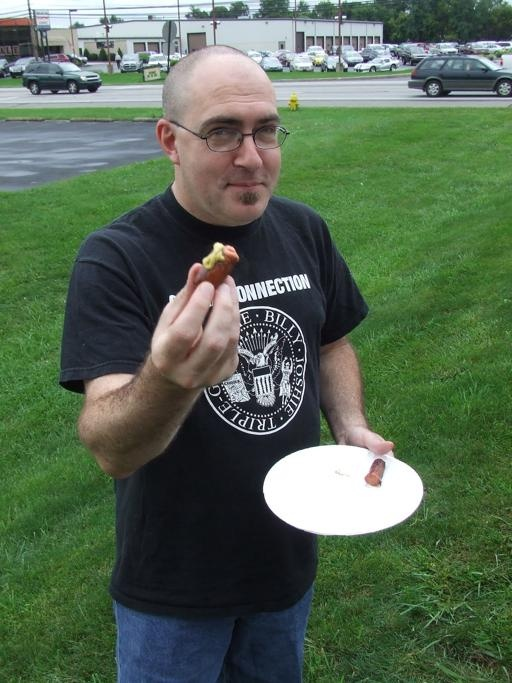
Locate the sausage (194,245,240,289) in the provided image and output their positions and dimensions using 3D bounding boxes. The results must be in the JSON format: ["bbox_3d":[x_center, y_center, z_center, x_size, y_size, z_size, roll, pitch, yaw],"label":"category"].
[{"bbox_3d":[-0.066,-0.135,1.175,0.064,0.082,0.032,20,-15,50],"label":"sausage"}]

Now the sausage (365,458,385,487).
[{"bbox_3d":[0.318,0.351,1.761,0.031,0.032,0.088,14,17,13],"label":"sausage"}]

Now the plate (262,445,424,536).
[{"bbox_3d":[0.237,0.389,1.686,0.326,0.041,0.325,11,24,38],"label":"plate"}]
